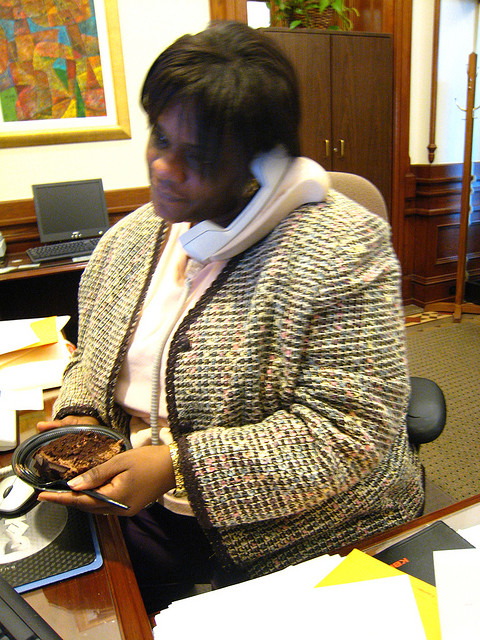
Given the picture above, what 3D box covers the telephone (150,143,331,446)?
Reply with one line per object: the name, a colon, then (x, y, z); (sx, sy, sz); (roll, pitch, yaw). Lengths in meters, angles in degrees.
telephone: (-0.011, -0.033, 0.727); (0.288, 0.420, 0.175); (-1, 21, 13)
